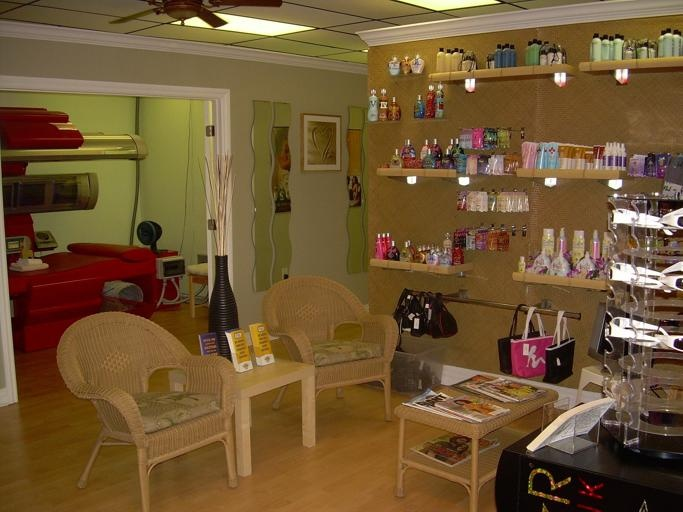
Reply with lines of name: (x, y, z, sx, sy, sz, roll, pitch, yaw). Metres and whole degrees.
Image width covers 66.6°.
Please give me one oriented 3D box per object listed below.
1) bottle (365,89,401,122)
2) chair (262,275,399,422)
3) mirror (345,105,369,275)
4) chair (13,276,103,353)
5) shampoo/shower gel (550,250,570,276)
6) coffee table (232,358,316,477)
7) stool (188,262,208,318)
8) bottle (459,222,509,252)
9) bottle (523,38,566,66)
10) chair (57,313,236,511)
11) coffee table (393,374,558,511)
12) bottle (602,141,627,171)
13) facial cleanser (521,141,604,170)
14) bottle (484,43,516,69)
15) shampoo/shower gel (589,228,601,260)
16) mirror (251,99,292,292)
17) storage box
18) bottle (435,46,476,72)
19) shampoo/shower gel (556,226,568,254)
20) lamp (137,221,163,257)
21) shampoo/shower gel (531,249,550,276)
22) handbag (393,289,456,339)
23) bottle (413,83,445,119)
bottle: (0.418, -1.472, 5.078, 0.381, 0.348, 0.147, 1, 1, 25)
chair: (-0.010, 0.761, 4.673, 1.297, 1.376, 1.112, -5, 8, -32)
mirror: (0.209, -0.900, 7.224, 0.452, 2.310, 0.153, -9, 13, -41)
chair: (-3.293, 0.630, 6.175, 0.875, 0.862, 1.078, 9, 13, 43)
shampoo/shower gel: (1.755, 0.041, 4.218, 0.172, 0.188, 0.175, 13, 23, 41)
coffee table: (-0.515, 1.072, 3.776, 0.767, 0.719, 0.382, -9, 13, -41)
stool: (-2.046, 0.440, 7.409, 0.267, 0.762, 0.984, -3, 10, -16)
bottle: (1.280, -0.152, 4.673, 0.368, 0.180, 0.213, 3, 7, 37)
bottle: (1.644, -1.632, 4.228, 0.309, 0.296, 0.215, 3, 13, 21)
chair: (-1.218, 0.951, 3.337, 0.842, 1.094, 0.857, 9, 13, 43)
coffee table: (0.771, 0.921, 3.260, 0.683, 0.555, 1.145, 3, 7, 37)
bottle: (2.089, -0.749, 3.923, 0.202, 0.210, 0.106, -3, 10, -17)
facial cleanser: (1.732, -0.783, 4.104, 0.392, 0.165, 0.310, 6, 8, 37)
bottle: (1.331, -1.661, 4.317, 0.245, 0.254, 0.275, 3, 10, 17)
shampoo/shower gel: (2.000, -0.085, 4.087, 0.076, 0.219, 0.076, 9, 14, 43)
mirror: (-0.846, -0.721, 6.332, 0.181, 2.278, 0.718, 8, 13, 40)
storage box: (0.691, 1.008, 4.801, 0.427, 0.275, 0.437, 0, 1, 44)
bottle: (0.997, -1.708, 4.573, 0.309, 0.266, 0.282, -7, 12, -41)
shampoo/shower gel: (1.815, -0.121, 4.269, 0.078, 0.208, 0.210, 4, 10, 22)
lamp: (-2.925, -0.306, 8.003, 0.269, 0.429, 0.633, -7, 12, -34)
shampoo/shower gel: (1.644, 0.053, 4.271, 0.179, 0.187, 0.178, 1, 10, 10)
handbag: (0.768, 0.533, 4.796, 0.549, 0.406, 0.235, 4, 11, 24)
bottle: (0.819, -1.430, 4.808, 0.291, 0.415, 0.141, 16, 20, 39)
